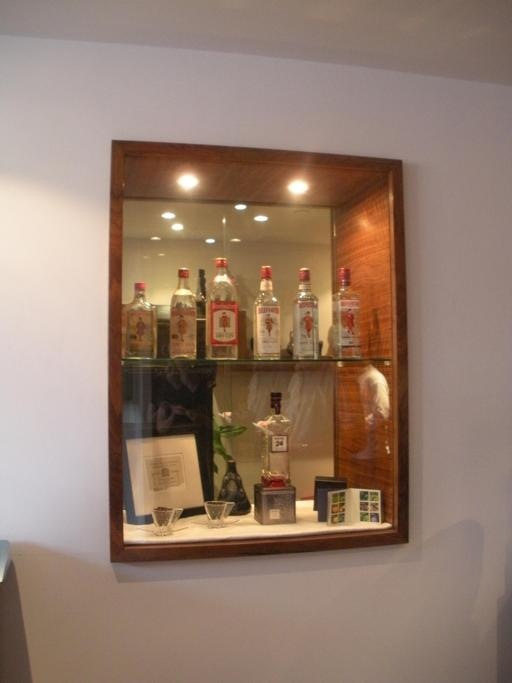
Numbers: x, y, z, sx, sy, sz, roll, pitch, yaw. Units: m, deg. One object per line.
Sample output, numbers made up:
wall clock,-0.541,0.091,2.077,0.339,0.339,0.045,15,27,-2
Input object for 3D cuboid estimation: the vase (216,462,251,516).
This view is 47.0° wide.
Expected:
vase,-0.066,0.395,1.598,0.107,0.133,0.110,0,-4,-10

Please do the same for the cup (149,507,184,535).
cup,-0.229,0.445,1.484,0.072,0.069,0.048,3,-7,-12

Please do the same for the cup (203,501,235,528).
cup,-0.098,0.445,1.536,0.072,0.057,0.059,7,-14,-27
